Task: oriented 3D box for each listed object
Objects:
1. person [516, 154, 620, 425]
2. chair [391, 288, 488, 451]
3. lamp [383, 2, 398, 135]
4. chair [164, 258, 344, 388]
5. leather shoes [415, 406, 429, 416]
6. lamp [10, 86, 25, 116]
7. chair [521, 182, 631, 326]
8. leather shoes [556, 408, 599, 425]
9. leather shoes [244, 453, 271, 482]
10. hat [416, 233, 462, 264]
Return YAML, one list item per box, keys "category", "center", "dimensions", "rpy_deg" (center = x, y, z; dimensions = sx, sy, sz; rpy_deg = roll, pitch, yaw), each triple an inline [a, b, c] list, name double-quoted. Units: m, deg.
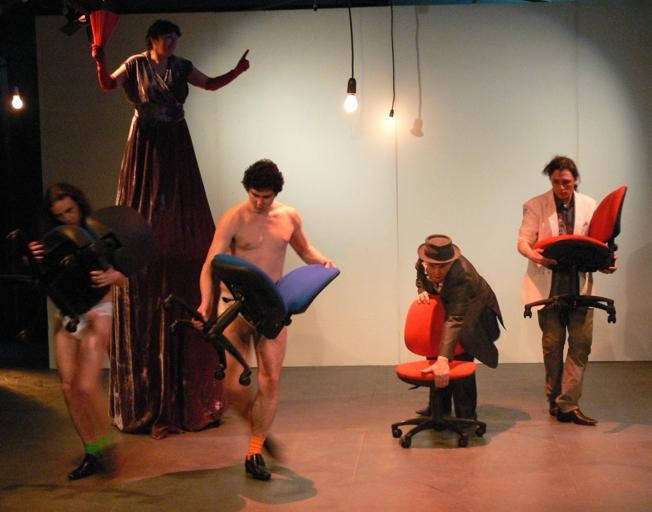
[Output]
- category: "person"
  center: [1.707, 0.246, 4.864]
  dimensions: [0.850, 1.980, 0.780]
  rpy_deg: [1, -2, -18]
- category: "chair"
  center: [0.768, 0.768, 4.512]
  dimensions: [0.626, 0.939, 0.624]
  rpy_deg: [1, 10, 12]
- category: "lamp"
  center: [0.609, -1.763, 6.147]
  dimensions: [0.086, 1.142, 0.133]
  rpy_deg: [0, 10, 10]
- category: "chair"
  center: [-0.400, 0.211, 3.859]
  dimensions: [0.894, 0.636, 0.628]
  rpy_deg: [-48, 19, -18]
- category: "leather shoes"
  center: [0.728, 1.157, 4.922]
  dimensions: [0.126, 0.087, 0.042]
  rpy_deg: [-1, -7, 18]
- category: "lamp"
  center: [-2.889, -1.473, 6.274]
  dimensions: [0.136, 0.217, 0.418]
  rpy_deg: [-6, 10, -24]
- category: "chair"
  center: [1.781, -0.020, 4.706]
  dimensions: [0.568, 0.907, 0.555]
  rpy_deg: [2, 10, 19]
- category: "leather shoes"
  center: [1.765, 1.134, 4.701]
  dimensions: [0.285, 0.118, 0.100]
  rpy_deg: [-4, -4, 24]
- category: "leather shoes"
  center: [-0.411, 1.271, 3.977]
  dimensions: [0.086, 0.093, 0.217]
  rpy_deg: [2, -8, -30]
- category: "hat"
  center: [0.772, -0.042, 4.524]
  dimensions: [0.275, 0.177, 0.180]
  rpy_deg: [0, 9, 7]
